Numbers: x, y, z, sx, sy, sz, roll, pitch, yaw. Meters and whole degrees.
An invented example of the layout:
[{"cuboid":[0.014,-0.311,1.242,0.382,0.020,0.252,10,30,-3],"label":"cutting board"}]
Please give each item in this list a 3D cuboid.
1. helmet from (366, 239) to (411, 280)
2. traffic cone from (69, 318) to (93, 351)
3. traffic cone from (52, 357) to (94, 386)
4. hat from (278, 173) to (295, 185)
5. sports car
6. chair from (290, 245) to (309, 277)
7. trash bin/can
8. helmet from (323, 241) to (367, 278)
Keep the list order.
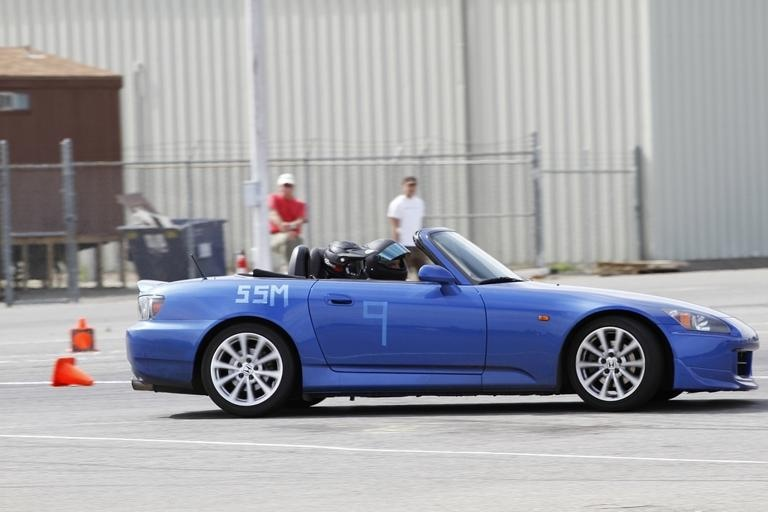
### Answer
[{"cuboid":[-0.069,0.053,17.492,0.696,0.441,0.515,4,4,31],"label":"helmet"},{"cuboid":[-4.477,1.189,21.389,0.426,0.473,0.359,-4,1,-2],"label":"traffic cone"},{"cuboid":[-4.149,1.560,19.051,0.507,0.287,0.426,8,1,23],"label":"traffic cone"},{"cuboid":[-1.661,-1.281,23.859,0.361,0.154,0.485,0,1,-2],"label":"hat"},{"cuboid":[0.704,0.762,17.693,7.302,1.584,2.757,-2,-2,5],"label":"sports car"},{"cuboid":[-1.041,0.072,17.425,0.295,0.409,0.340,5,-14,3],"label":"chair"},{"cuboid":[-3.892,-0.070,26.649,1.440,1.277,1.959,-1,4,29],"label":"trash bin/can"},{"cuboid":[-0.502,0.083,17.567,0.691,0.464,0.466,1,14,-6],"label":"helmet"}]
